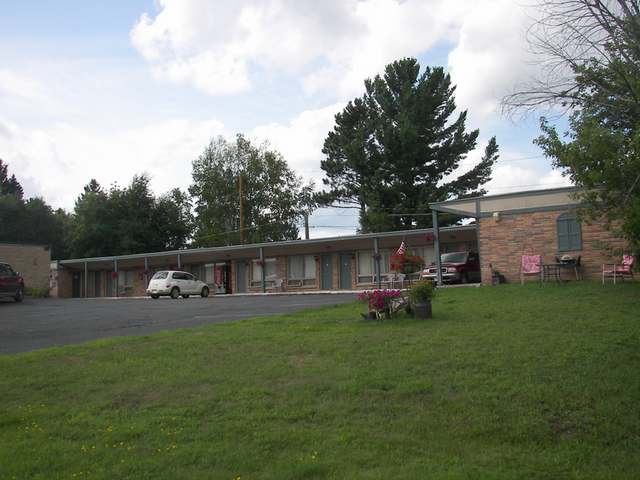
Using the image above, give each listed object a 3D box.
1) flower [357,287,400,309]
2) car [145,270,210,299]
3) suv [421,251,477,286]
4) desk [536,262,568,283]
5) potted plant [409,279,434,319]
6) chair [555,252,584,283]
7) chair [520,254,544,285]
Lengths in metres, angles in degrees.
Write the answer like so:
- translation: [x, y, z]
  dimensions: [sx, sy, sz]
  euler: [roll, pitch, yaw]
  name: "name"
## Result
- translation: [1.309, 1.342, 14.246]
  dimensions: [0.647, 0.366, 0.646]
  euler: [-10, -9, 44]
  name: "flower"
- translation: [-7.332, 2.318, 32.294]
  dimensions: [1.536, 1.321, 2.708]
  euler: [-5, -4, 39]
  name: "car"
- translation: [5.974, 1.220, 27.861]
  dimensions: [1.675, 1.314, 3.151]
  euler: [-7, -10, 34]
  name: "suv"
- translation: [8.253, 1.097, 21.959]
  dimensions: [0.884, 0.714, 2.158]
  euler: [-3, 2, 19]
  name: "desk"
- translation: [2.364, 1.362, 13.942]
  dimensions: [0.692, 0.889, 0.685]
  euler: [3, -6, -34]
  name: "potted plant"
- translation: [8.956, 0.853, 21.947]
  dimensions: [1.020, 1.334, 1.037]
  euler: [-7, -13, 38]
  name: "chair"
- translation: [7.817, 1.045, 22.775]
  dimensions: [0.917, 1.388, 1.101]
  euler: [-2, -5, 28]
  name: "chair"
